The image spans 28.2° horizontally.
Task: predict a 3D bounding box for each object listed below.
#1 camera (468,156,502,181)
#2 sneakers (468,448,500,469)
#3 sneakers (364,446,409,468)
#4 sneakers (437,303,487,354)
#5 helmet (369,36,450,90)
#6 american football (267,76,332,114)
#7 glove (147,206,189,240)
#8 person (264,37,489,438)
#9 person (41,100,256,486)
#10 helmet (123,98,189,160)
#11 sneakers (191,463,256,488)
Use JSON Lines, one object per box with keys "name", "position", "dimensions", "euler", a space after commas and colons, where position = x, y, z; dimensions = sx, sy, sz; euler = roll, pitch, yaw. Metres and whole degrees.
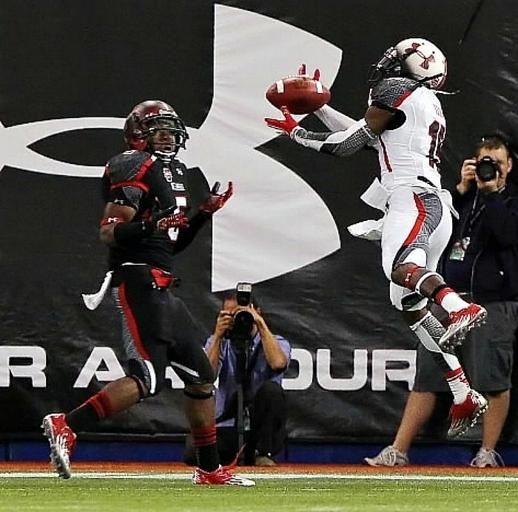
{"name": "camera", "position": [1.256, -0.480, 5.633], "dimensions": [0.162, 0.162, 0.064], "euler": [1, 2, 7]}
{"name": "sneakers", "position": [1.282, 1.120, 5.700], "dimensions": [0.105, 0.076, 0.205], "euler": [1, -17, 3]}
{"name": "sneakers", "position": [0.715, 1.081, 5.565], "dimensions": [0.267, 0.081, 0.093], "euler": [1, -1, 2]}
{"name": "sneakers", "position": [0.900, 0.323, 4.633], "dimensions": [0.178, 0.246, 0.234], "euler": [4, 7, -16]}
{"name": "helmet", "position": [0.791, -0.978, 5.271], "dimensions": [0.409, 0.237, 0.256], "euler": [10, -3, 9]}
{"name": "american football", "position": [0.209, -0.837, 5.291], "dimensions": [0.386, 0.172, 0.216], "euler": [-2, 3, -13]}
{"name": "glove", "position": [-0.393, -0.161, 4.516], "dimensions": [0.175, 0.118, 0.152], "euler": [6, 7, 13]}
{"name": "person", "position": [0.776, -0.135, 5.077], "dimensions": [0.695, 1.912, 1.301], "euler": [-1, 11, -44]}
{"name": "person", "position": [-0.541, 0.150, 4.573], "dimensions": [0.862, 1.699, 0.777], "euler": [3, 9, -22]}
{"name": "helmet", "position": [-0.512, -0.615, 4.824], "dimensions": [0.331, 0.197, 0.227], "euler": [2, 7, 28]}
{"name": "sneakers", "position": [-0.165, 0.981, 4.624], "dimensions": [0.324, 0.086, 0.094], "euler": [1, -6, 4]}
